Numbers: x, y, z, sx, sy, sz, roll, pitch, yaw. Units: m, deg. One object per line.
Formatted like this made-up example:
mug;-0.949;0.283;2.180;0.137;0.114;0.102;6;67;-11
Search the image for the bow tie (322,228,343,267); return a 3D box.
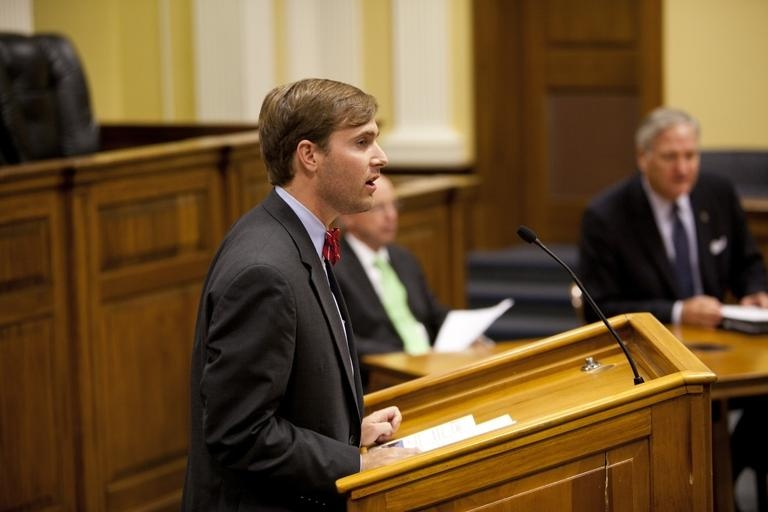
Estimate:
bow tie;-0.174;-0.035;2.385;0.030;0.111;0.079;5;6;24
